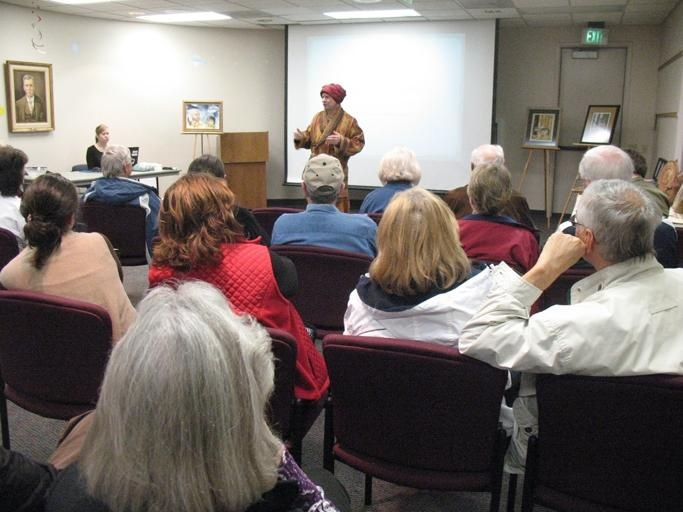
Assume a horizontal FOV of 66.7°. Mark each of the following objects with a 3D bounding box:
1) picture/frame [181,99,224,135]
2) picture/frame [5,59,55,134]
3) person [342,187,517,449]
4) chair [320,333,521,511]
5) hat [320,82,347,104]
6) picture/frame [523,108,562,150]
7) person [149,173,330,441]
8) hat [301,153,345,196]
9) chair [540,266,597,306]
[{"bbox_3d":[-2.019,-2.386,8.885,0.630,0.640,0.072,-1,2,-19],"label":"picture/frame"},{"bbox_3d":[-3.915,-2.325,7.559,0.184,0.972,0.753,4,14,15],"label":"picture/frame"},{"bbox_3d":[0.341,0.213,2.098,0.597,1.104,0.635,6,32,26],"label":"person"},{"bbox_3d":[0.254,0.443,1.849,0.445,0.708,0.566,3,10,17],"label":"chair"},{"bbox_3d":[-0.028,-1.918,5.983,0.198,0.218,0.255,16,-7,26],"label":"hat"},{"bbox_3d":[2.800,-2.009,8.154,0.532,0.781,0.053,8,4,29],"label":"picture/frame"},{"bbox_3d":[-0.389,0.250,2.206,0.658,1.156,0.610,-6,14,-1],"label":"person"},{"bbox_3d":[-0.073,-0.433,3.247,0.227,0.322,0.317,-1,18,-1],"label":"hat"},{"bbox_3d":[0.784,0.113,2.028,0.143,0.174,0.115,-1,17,10],"label":"chair"}]
